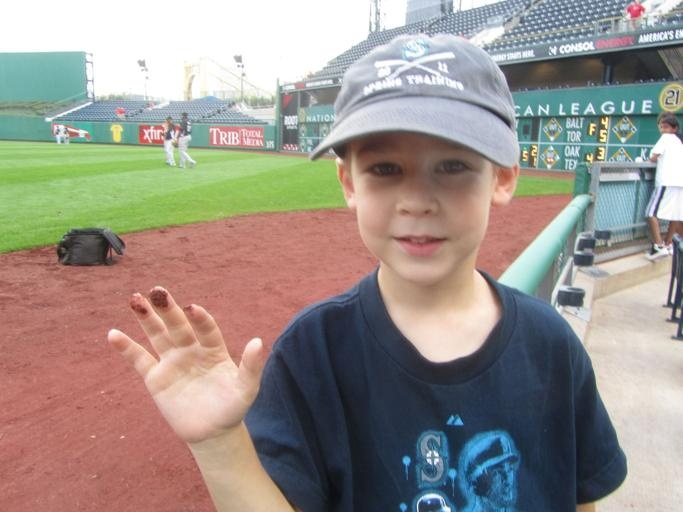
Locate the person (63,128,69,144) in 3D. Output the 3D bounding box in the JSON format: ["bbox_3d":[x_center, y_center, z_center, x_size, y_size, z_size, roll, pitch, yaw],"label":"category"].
[{"bbox_3d":[-18.706,-8.226,35.100,0.379,0.919,0.864,-5,16,-24],"label":"person"}]

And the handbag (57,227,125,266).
[{"bbox_3d":[-3.204,-0.146,6.539,0.546,0.330,0.576,3,5,1],"label":"handbag"}]

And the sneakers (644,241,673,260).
[{"bbox_3d":[4.407,-0.079,7.248,0.186,0.241,0.531,-4,2,3],"label":"sneakers"}]

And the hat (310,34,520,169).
[{"bbox_3d":[0.233,-0.365,1.335,0.335,0.269,0.468,-1,0,25],"label":"hat"}]
